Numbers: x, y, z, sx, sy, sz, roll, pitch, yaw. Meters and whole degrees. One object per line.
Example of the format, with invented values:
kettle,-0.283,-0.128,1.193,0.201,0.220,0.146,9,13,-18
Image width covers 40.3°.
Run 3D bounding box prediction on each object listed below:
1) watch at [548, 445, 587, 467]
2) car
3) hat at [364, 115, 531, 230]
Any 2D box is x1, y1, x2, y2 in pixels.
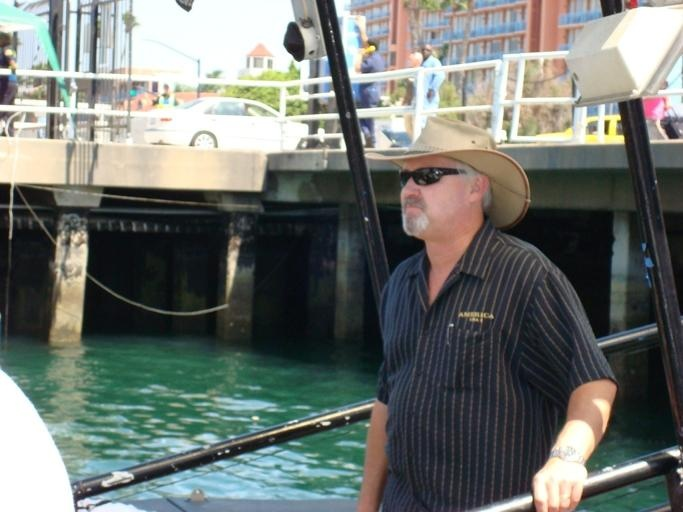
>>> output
watch,0.771,0.680,3.209,0.117,0.063,0.070,3,4,13
car,-2.333,-2.703,18.574,2.506,1.143,5.053,3,5,8
hat,0.521,-0.249,3.761,0.525,0.212,0.439,27,-9,-19
